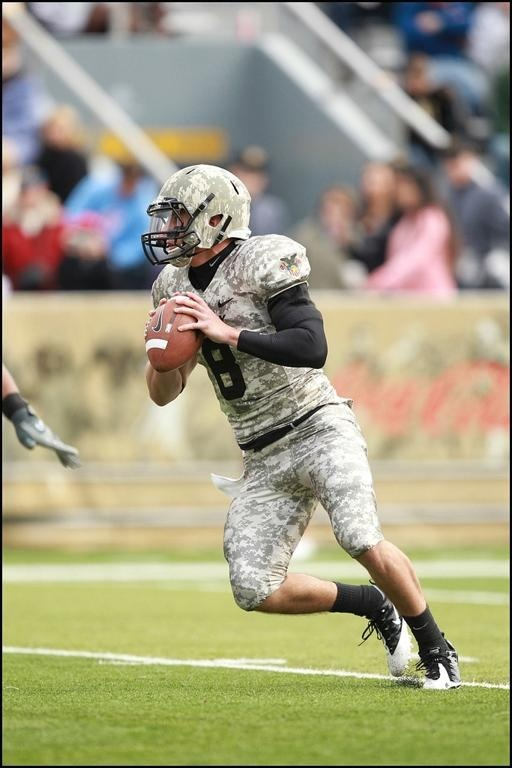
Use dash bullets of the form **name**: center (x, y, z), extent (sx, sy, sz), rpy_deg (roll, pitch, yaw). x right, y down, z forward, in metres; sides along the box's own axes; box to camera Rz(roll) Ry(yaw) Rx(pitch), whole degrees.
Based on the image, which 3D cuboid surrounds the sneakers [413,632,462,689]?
- **sneakers**: center (0.482, 0.734, 2.432), extent (0.105, 0.114, 0.130), rpy_deg (-2, 38, 2)

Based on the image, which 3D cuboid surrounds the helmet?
- **helmet**: center (-0.153, -0.457, 2.569), extent (0.320, 0.230, 0.212), rpy_deg (-2, 5, -17)

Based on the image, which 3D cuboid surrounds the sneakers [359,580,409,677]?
- **sneakers**: center (0.382, 0.697, 2.709), extent (0.128, 0.252, 0.083), rpy_deg (-3, 51, 10)

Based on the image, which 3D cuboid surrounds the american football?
- **american football**: center (-0.213, -0.118, 2.435), extent (0.143, 0.122, 0.183), rpy_deg (18, 78, 23)
